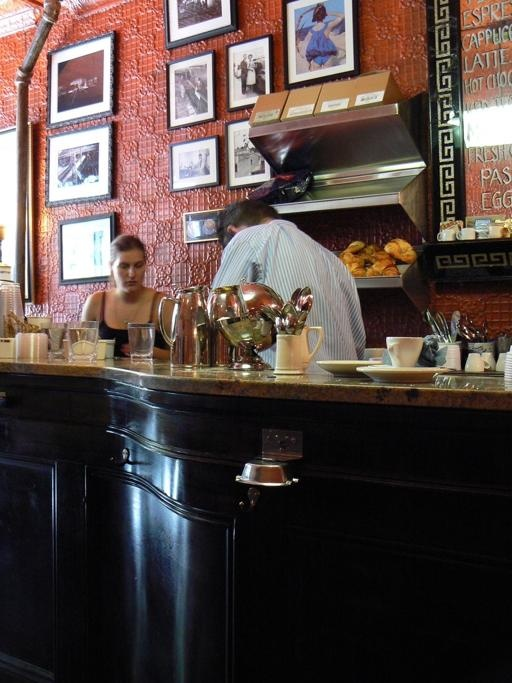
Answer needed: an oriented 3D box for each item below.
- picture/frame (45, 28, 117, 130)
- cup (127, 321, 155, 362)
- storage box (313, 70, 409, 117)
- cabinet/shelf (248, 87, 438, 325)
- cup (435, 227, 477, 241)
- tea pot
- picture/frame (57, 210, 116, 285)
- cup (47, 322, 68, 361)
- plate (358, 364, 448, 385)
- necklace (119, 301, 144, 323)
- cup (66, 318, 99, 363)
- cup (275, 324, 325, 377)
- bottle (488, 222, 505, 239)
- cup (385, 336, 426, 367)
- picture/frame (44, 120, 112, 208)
[{"bbox_3d":[-1.325,-2.003,4.685,0.812,0.963,0.045,-11,-11,38],"label":"picture/frame"},{"bbox_3d":[-0.379,0.003,2.016,0.080,0.121,0.111,-3,0,-14],"label":"cup"},{"bbox_3d":[0.491,-1.203,2.963,0.300,0.181,0.292,0,6,27],"label":"storage box"},{"bbox_3d":[0.443,-0.747,3.343,0.988,1.087,0.370,8,14,44],"label":"cabinet/shelf"},{"bbox_3d":[0.959,-0.490,2.917,0.146,0.066,0.087,-3,0,36],"label":"cup"},{"bbox_3d":[-0.208,-0.038,1.729,0.147,0.226,0.096,-3,0,12],"label":"tea pot"},{"bbox_3d":[-1.298,-0.706,4.682,0.041,0.556,0.589,11,18,30],"label":"picture/frame"},{"bbox_3d":[-0.732,0.008,2.250,0.067,0.125,0.181,-3,0,-19],"label":"cup"},{"bbox_3d":[0.275,0.061,1.139,0.151,0.033,0.176,-3,0,22],"label":"plate"},{"bbox_3d":[-0.742,-0.172,3.624,0.133,0.098,0.133,3,-3,-1],"label":"necklace"},{"bbox_3d":[-0.598,0.000,2.100,0.101,0.137,0.183,-3,0,-15],"label":"cup"},{"bbox_3d":[0.099,0.021,1.386,0.112,0.108,0.066,-2,4,3],"label":"cup"},{"bbox_3d":[1.123,-0.521,2.860,0.073,0.080,0.088,-3,0,-11],"label":"bottle"},{"bbox_3d":[0.298,0.020,1.221,0.058,0.050,0.070,0,-4,3],"label":"cup"},{"bbox_3d":[-1.350,-1.367,4.700,0.773,0.642,0.052,0,-3,35],"label":"picture/frame"}]
